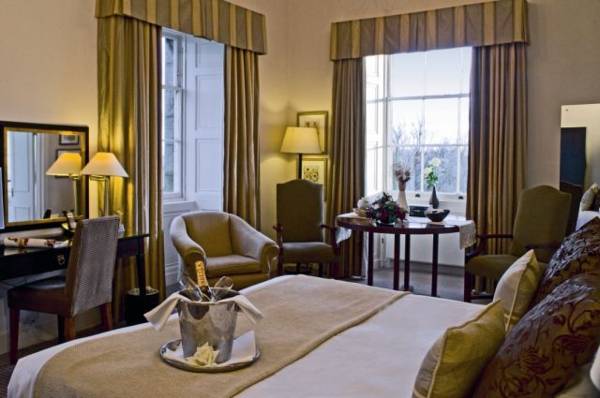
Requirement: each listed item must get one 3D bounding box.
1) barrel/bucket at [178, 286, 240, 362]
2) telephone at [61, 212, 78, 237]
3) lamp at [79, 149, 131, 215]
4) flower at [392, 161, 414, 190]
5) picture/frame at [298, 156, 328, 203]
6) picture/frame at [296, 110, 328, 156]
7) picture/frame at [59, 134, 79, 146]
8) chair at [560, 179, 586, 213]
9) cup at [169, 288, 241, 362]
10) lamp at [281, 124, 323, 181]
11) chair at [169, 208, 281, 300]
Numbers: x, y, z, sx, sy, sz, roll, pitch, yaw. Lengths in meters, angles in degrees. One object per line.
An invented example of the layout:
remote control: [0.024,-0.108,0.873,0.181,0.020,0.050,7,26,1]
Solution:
barrel/bucket: [-0.462,0.639,2.382,0.313,0.259,0.306,-1,-2,0]
telephone: [-2.126,0.233,4.162,0.185,0.128,0.134,33,26,34]
lamp: [-1.844,-0.054,4.305,0.439,0.756,0.402,0,-3,-5]
flower: [1.209,-0.258,5.404,0.160,0.316,0.353,2,13,6]
picture/frame: [0.172,-0.345,6.575,0.382,0.576,0.035,0,30,1]
picture/frame: [0.175,-0.995,6.515,0.456,0.554,0.031,-5,31,-6]
picture/frame: [-2.200,-0.566,4.292,0.010,0.101,0.117,0,1,43]
chair: [3.054,-0.041,5.213,0.340,0.444,0.305,1,0,25]
cup: [-0.508,0.653,2.414,0.316,0.262,0.306,-1,-2,0]
lamp: [0.007,-0.568,6.349,0.543,0.791,0.555,3,6,25]
chair: [-0.908,0.631,4.878,1.054,0.980,1.101,0,1,42]
